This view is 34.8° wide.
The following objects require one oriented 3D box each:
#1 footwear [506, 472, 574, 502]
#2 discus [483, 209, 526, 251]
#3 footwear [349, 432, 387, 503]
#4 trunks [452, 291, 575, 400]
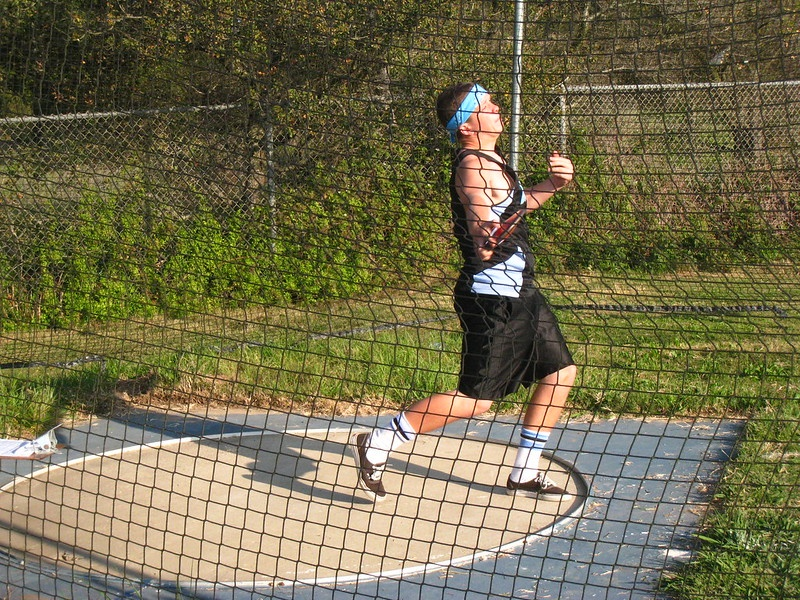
[{"bbox_3d":[0.840,1.101,7.595,0.343,0.143,0.162,1,3,2],"label":"footwear"},{"bbox_3d":[0.624,-0.408,7.365,0.154,0.251,0.298,2,-4,25],"label":"discus"},{"bbox_3d":[-0.162,1.005,7.574,0.172,0.425,0.151,-12,1,33],"label":"footwear"},{"bbox_3d":[0.669,0.261,7.477,0.702,0.664,0.286,3,-3,1],"label":"trunks"}]
